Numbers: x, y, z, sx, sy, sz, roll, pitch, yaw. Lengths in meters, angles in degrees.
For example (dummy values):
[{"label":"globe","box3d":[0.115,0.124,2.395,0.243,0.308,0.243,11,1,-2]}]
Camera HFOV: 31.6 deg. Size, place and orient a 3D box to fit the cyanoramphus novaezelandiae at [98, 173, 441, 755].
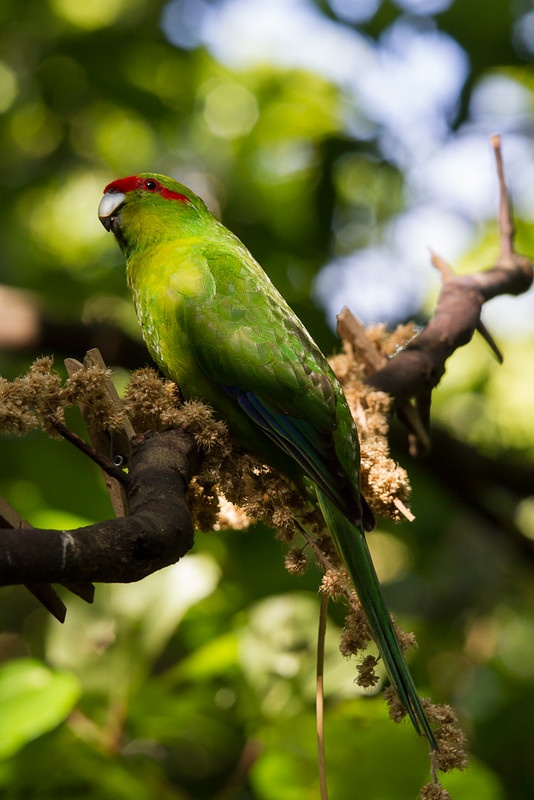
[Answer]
[{"label":"cyanoramphus novaezelandiae","box3d":[-0.091,0.164,3.203,1.276,0.525,1.873,12,73,-10]}]
